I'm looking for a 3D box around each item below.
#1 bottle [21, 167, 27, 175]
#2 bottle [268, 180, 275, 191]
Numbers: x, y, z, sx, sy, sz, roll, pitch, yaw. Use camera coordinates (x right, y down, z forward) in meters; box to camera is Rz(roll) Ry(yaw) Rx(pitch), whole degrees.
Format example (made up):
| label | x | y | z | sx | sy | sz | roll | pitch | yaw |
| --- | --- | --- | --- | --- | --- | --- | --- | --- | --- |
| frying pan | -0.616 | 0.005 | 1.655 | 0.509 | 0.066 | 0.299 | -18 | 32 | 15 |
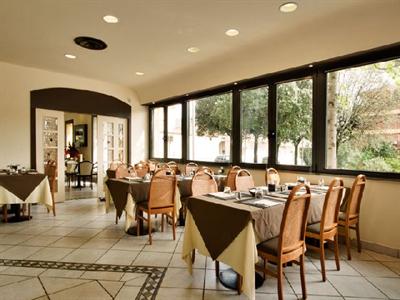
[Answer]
| label | x | y | z | sx | sy | sz | roll | pitch | yaw |
| --- | --- | --- | --- | --- | --- | --- | --- | --- | --- |
| bottle | -3.670 | 0.449 | 6.097 | 0.082 | 0.153 | 0.082 | 0 | -7 | 0 |
| bottle | 0.981 | 0.503 | 4.008 | 0.116 | 0.133 | 0.115 | 0 | -3 | -3 |
